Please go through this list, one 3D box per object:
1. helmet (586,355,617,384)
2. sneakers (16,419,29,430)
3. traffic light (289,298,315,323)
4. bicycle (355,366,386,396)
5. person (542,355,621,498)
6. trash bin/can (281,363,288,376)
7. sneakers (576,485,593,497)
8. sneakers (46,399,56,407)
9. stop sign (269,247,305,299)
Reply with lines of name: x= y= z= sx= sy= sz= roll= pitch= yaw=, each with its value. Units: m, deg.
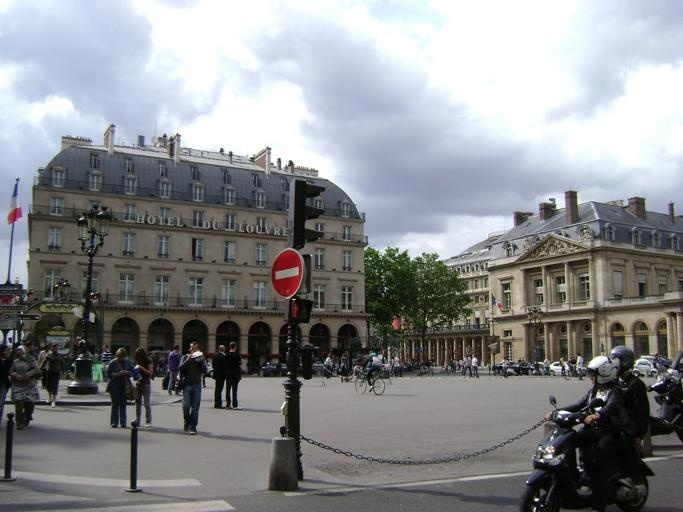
helmet: x=3.939 y=1.744 z=11.334 sx=0.368 sy=0.422 sz=0.486 roll=21 pitch=28 yaw=23
sneakers: x=-7.413 y=3.930 z=17.445 sx=0.102 sy=0.221 sz=0.328 roll=11 pitch=-32 yaw=-25
traffic light: x=-0.685 y=0.907 z=12.829 sx=0.374 sy=0.457 sz=0.367 roll=1 pitch=-9 yaw=-1
bicycle: x=1.579 y=5.510 z=32.904 sx=1.934 sy=1.202 sz=0.950 roll=11 pitch=-14 yaw=-40
person: x=3.612 y=2.605 z=11.121 sx=1.430 sy=2.221 sz=0.551 roll=5 pitch=-10 yaw=-24
trash bin/can: x=-4.383 y=8.613 z=56.651 sx=0.511 sy=0.959 sz=1.543 roll=2 pitch=-9 yaw=-9
sneakers: x=3.548 y=3.440 z=10.917 sx=0.170 sy=0.056 sz=0.165 roll=-2 pitch=1 yaw=-7
sneakers: x=-8.579 y=4.380 z=22.239 sx=0.159 sy=0.189 sz=0.478 roll=5 pitch=-24 yaw=-19
stop sign: x=-0.903 y=0.283 z=12.939 sx=0.319 sy=0.913 sz=0.968 roll=6 pitch=-10 yaw=-28
